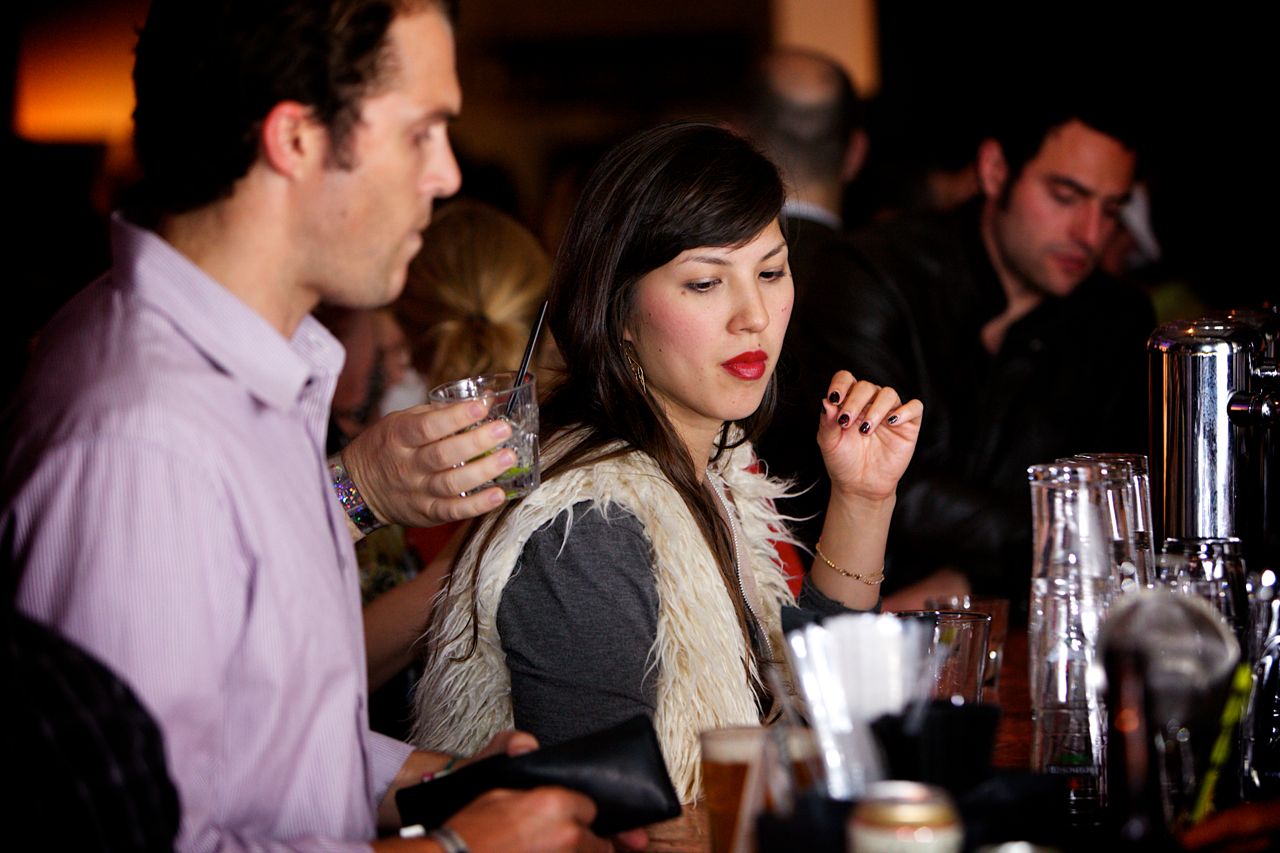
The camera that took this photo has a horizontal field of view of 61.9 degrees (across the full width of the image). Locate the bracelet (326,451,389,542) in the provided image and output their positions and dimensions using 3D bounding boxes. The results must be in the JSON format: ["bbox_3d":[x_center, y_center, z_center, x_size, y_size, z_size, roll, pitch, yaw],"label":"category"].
[{"bbox_3d":[-0.520,0.131,2.062,0.131,0.122,0.137,-10,19,-7],"label":"bracelet"}]

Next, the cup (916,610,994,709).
[{"bbox_3d":[0.531,0.376,1.785,0.110,0.175,0.112,7,-13,2],"label":"cup"}]

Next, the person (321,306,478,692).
[{"bbox_3d":[-0.783,0.141,3.269,0.455,1.166,0.869,-7,-29,-2],"label":"person"}]

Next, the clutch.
[{"bbox_3d":[-0.160,0.500,1.543,0.436,0.176,0.095,-5,-6,30],"label":"clutch"}]
